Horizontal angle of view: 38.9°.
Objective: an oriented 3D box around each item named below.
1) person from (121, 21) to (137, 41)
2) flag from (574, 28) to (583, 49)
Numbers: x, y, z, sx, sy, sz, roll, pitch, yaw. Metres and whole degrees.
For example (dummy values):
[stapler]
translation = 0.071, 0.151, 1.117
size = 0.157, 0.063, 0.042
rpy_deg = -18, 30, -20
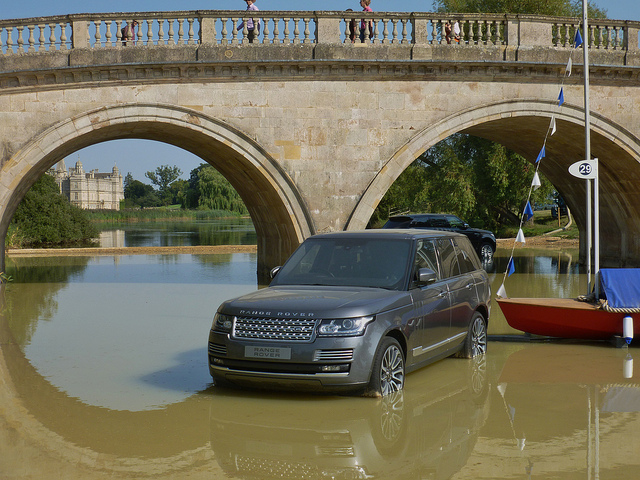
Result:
[person]
translation = -4.970, -5.467, 23.646
size = 0.407, 0.456, 1.202
rpy_deg = -4, 14, -11
[flag]
translation = 6.271, -4.844, 21.875
size = 0.172, 0.385, 0.860
rpy_deg = 3, 14, 16
